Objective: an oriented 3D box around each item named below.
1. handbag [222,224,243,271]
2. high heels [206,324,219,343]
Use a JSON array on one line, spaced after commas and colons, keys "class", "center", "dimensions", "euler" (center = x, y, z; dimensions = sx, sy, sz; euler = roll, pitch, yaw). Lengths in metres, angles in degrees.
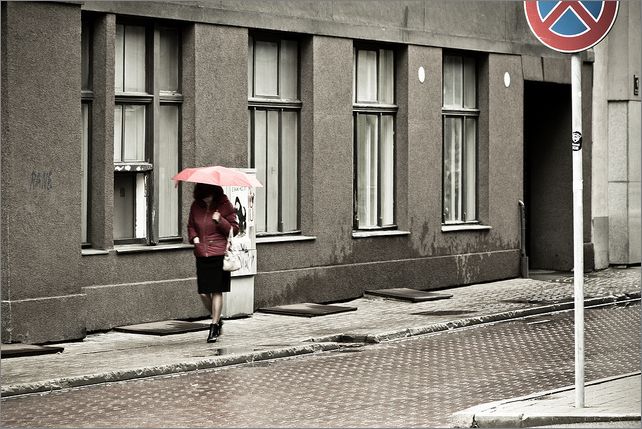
[{"class": "handbag", "center": [-1.363, 0.540, 13.442], "dimensions": [0.239, 0.653, 0.685], "euler": [-2, 4, -3]}, {"class": "high heels", "center": [-1.606, 1.772, 13.031], "dimensions": [0.181, 0.255, 0.308], "euler": [-2, 4, 0]}]
